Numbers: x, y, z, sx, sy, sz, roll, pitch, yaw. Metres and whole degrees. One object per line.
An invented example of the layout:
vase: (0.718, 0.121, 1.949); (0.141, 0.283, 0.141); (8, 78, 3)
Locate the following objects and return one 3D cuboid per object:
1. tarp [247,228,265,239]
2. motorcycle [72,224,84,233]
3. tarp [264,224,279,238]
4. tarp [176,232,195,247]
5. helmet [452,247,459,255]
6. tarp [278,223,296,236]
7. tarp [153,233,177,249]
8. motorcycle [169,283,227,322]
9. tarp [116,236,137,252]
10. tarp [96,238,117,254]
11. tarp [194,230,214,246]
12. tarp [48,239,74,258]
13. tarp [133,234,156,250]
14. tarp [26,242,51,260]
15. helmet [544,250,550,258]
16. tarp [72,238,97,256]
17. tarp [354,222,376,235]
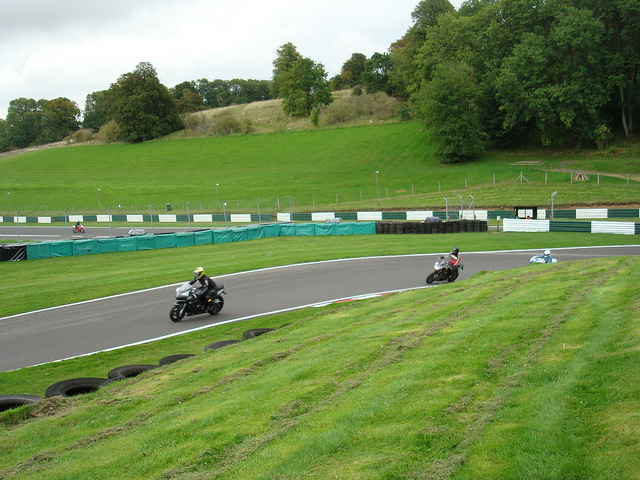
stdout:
tarp: (-5.261, -0.533, 62.767); (1.693, 0.852, 0.160); (-12, 12, -37)
motorcycle: (-24.668, -1.095, 76.682); (1.811, 0.902, 0.913); (-1, 5, 24)
tarp: (-4.034, -0.797, 63.613); (1.130, 0.729, 1.042); (1, 11, 3)
tarp: (-10.675, 0.037, 59.963); (1.267, 0.783, 1.156); (-1, 9, -11)
helmet: (7.832, 0.649, 43.656); (0.300, 0.367, 0.492); (-4, 10, 8)
tarp: (-2.740, -0.837, 63.886); (1.220, 0.642, 1.125); (0, 5, -1)
tarp: (-11.946, 0.122, 58.968); (1.374, 0.722, 1.268); (-3, 10, -29)
motorcycle: (-6.571, 3.320, 40.803); (1.330, 1.834, 3.596); (9, 12, 39)
tarp: (-14.628, 0.338, 57.571); (1.563, 1.059, 0.335); (-8, 11, -18)
tarp: (-16.081, 0.441, 57.041); (1.531, 1.068, 0.287); (-7, 11, -15)
tarp: (-9.270, -0.168, 60.889); (1.312, 0.796, 1.204); (-1, 8, -16)
tarp: (-18.887, 0.658, 55.413); (1.511, 0.868, 1.380); (-2, 9, -15)
tarp: (-13.523, 0.221, 58.390); (1.209, 0.755, 1.235); (3, 4, 36)
tarp: (-20.233, 0.850, 54.637); (1.386, 0.764, 1.265); (-4, 15, -22)
helmet: (12.741, 0.790, 42.391); (0.309, 0.362, 0.385); (-5, -11, 13)
tarp: (-17.778, 0.529, 56.812); (1.459, 0.788, 1.344); (-4, 8, -33)
tarp: (3.884, -0.997, 63.603); (1.309, 0.519, 1.223); (2, 11, 7)
